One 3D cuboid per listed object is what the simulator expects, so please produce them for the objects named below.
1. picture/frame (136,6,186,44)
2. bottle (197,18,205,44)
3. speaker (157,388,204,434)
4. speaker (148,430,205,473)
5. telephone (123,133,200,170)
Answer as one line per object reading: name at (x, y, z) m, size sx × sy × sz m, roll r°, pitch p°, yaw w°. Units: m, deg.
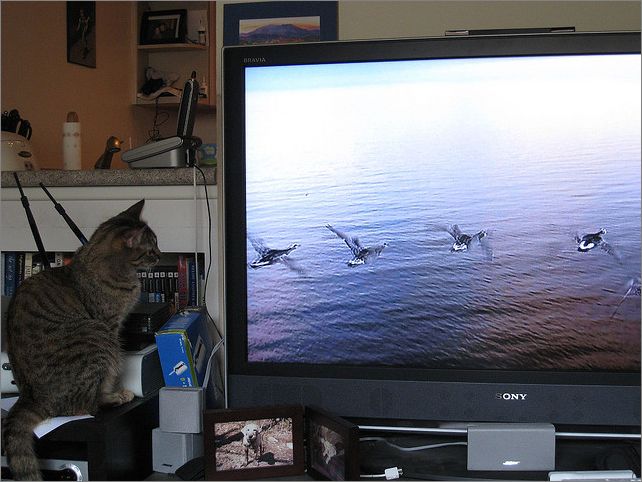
picture/frame at (-1.226, -1.640, 4.487) m, size 0.356 × 0.242 × 0.045 m, roll 0°, pitch -17°, yaw 6°
bottle at (-0.933, -1.620, 4.544) m, size 0.072 × 0.199 × 0.108 m, roll -3°, pitch 11°, yaw -5°
speaker at (-0.357, 0.436, 1.500) m, size 0.122 × 0.108 × 0.063 m, roll 0°, pitch 4°, yaw 10°
speaker at (-0.379, 0.539, 1.566) m, size 0.121 × 0.111 × 0.114 m, roll 0°, pitch 2°, yaw 10°
telephone at (-0.504, -0.278, 1.844) m, size 0.243 × 0.100 × 0.176 m, roll -4°, pitch 11°, yaw -9°
